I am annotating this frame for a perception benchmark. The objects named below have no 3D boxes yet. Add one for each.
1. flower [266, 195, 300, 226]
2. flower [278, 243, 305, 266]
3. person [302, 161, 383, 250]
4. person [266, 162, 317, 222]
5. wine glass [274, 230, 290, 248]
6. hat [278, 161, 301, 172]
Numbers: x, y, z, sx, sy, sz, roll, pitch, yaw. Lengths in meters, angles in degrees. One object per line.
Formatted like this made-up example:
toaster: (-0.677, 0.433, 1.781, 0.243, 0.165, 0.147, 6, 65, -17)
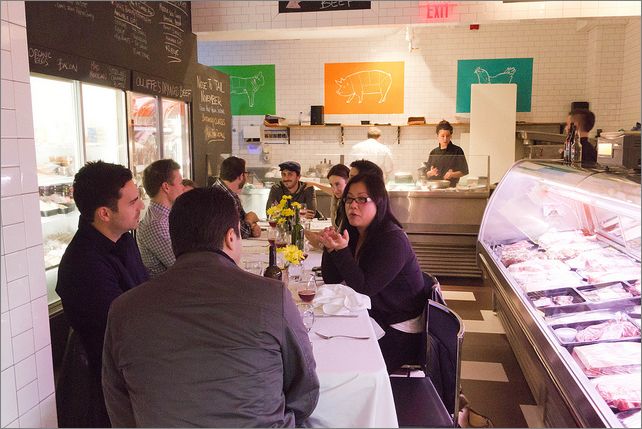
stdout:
flower: (-0.318, -0.025, 3.722, 0.317, 0.314, 0.317, -2, 0, -10)
flower: (-0.206, 0.260, 2.937, 0.153, 0.088, 0.152, 12, 8, 19)
person: (0.172, -0.095, 3.850, 0.334, 0.900, 0.832, 4, 7, -24)
person: (-0.301, -0.263, 5.296, 0.679, 0.901, 0.617, 1, 2, 10)
wine glass: (-0.292, 0.184, 3.474, 0.115, 0.127, 0.115, 4, 6, 28)
hat: (-0.327, -0.555, 5.152, 0.131, 0.064, 0.182, 3, -5, 41)
